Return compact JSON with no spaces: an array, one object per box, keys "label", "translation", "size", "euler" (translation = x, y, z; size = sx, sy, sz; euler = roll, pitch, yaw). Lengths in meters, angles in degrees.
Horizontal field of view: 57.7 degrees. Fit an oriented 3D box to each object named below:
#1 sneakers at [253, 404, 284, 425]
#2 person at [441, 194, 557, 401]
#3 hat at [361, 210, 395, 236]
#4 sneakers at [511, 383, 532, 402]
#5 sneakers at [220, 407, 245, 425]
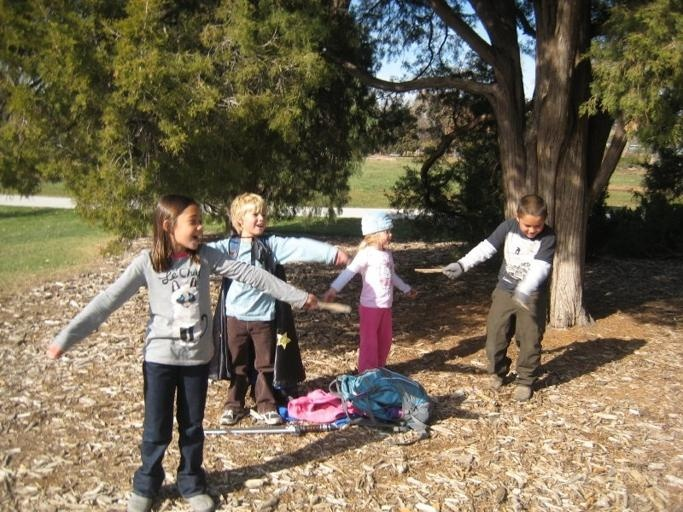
[{"label":"sneakers","translation":[-0.732,1.570,6.120],"size":[0.290,0.159,0.132],"euler":[-4,-10,34]},{"label":"person","translation":[1.784,0.395,6.582],"size":[0.864,2.072,0.727],"euler":[0,11,20]},{"label":"hat","translation":[0.390,-0.385,6.765],"size":[0.296,0.260,0.760],"euler":[-3,11,5]},{"label":"sneakers","translation":[1.895,1.402,6.455],"size":[0.285,0.139,0.176],"euler":[-8,11,-15]},{"label":"sneakers","translation":[-1.068,1.569,6.096],"size":[0.093,0.127,0.252],"euler":[-2,-8,28]}]
